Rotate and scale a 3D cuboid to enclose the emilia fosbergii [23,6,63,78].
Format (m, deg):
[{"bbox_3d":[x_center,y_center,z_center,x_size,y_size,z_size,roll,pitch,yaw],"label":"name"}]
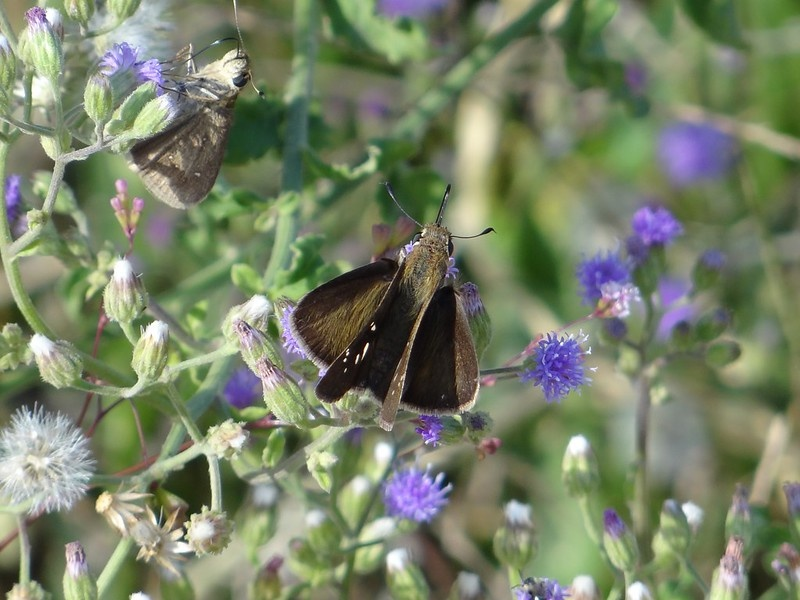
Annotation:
[{"bbox_3d":[-1.488,-1.080,4.560,0.134,0.165,0.346,-8,82,-1],"label":"emilia fosbergii"}]

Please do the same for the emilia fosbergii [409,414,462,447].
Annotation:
[{"bbox_3d":[0.165,0.555,4.695,0.139,0.074,0.161,-22,90,-12],"label":"emilia fosbergii"}]

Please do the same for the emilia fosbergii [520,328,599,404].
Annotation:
[{"bbox_3d":[0.671,0.289,4.727,0.312,0.209,0.299,-7,81,-1],"label":"emilia fosbergii"}]

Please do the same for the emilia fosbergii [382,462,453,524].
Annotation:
[{"bbox_3d":[0.073,0.878,4.945,0.202,0.228,0.346,-11,104,-21],"label":"emilia fosbergii"}]

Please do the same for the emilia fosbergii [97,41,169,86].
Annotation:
[{"bbox_3d":[-1.171,-1.076,4.734,0.253,0.222,0.224,-13,112,-35],"label":"emilia fosbergii"}]

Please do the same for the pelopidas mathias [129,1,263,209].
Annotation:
[{"bbox_3d":[-0.958,-0.866,4.910,0.359,0.492,0.804,23,82,4],"label":"pelopidas mathias"}]

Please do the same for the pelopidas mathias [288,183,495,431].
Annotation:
[{"bbox_3d":[0.048,0.042,4.755,0.789,0.382,1.122,22,54,18],"label":"pelopidas mathias"}]
